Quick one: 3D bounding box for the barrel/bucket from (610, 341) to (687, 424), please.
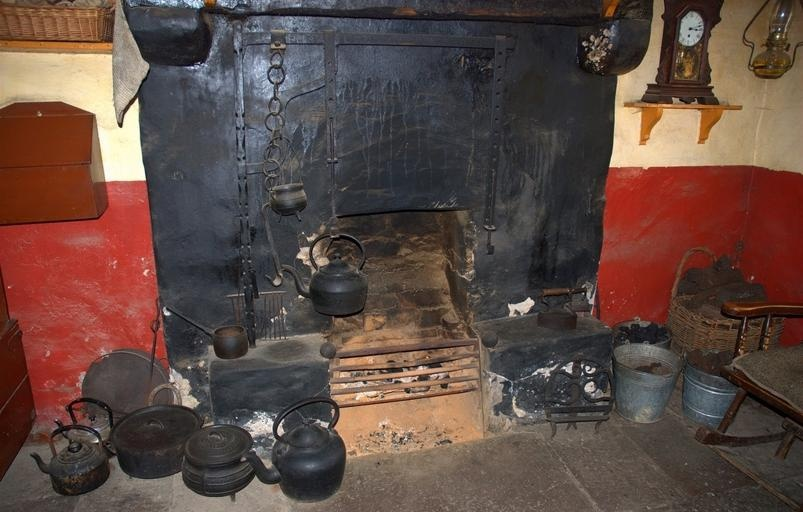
[{"bbox_3d":[2.092,1.092,5.272,0.558,0.582,0.449,4,17,18],"label":"barrel/bucket"}]

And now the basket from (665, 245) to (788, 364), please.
[{"bbox_3d":[2.827,0.454,5.856,1.217,1.049,0.873,-3,17,-11],"label":"basket"}]

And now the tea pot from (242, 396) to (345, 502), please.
[{"bbox_3d":[-0.751,1.404,4.402,0.663,0.793,0.314,-5,17,-15],"label":"tea pot"}]

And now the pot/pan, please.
[{"bbox_3d":[-1.359,1.511,4.537,0.541,0.341,0.497,2,24,-5],"label":"pot/pan"}]

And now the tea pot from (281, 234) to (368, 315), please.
[{"bbox_3d":[-0.560,0.182,4.770,0.590,0.669,0.617,-3,-18,-1],"label":"tea pot"}]

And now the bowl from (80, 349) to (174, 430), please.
[{"bbox_3d":[-2.317,1.059,5.122,0.672,0.609,0.153,30,1,-7],"label":"bowl"}]
